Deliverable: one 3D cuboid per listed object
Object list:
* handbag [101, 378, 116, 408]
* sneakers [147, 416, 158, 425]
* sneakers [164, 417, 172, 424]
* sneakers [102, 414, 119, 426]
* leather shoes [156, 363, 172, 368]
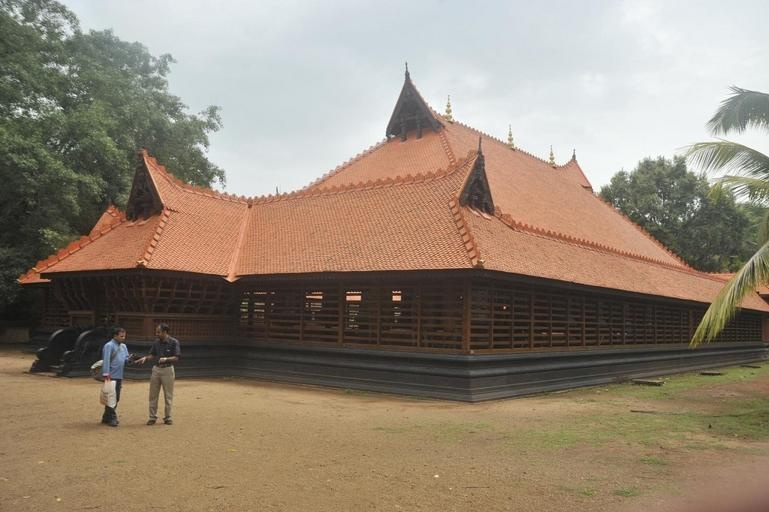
[{"bbox_3d":[-6.696,3.349,15.052,0.201,0.648,0.365,-2,-12,25],"label":"handbag"},{"bbox_3d":[-5.720,4.044,15.166,0.240,0.194,0.264,7,-11,-20],"label":"sneakers"},{"bbox_3d":[-5.348,4.055,15.243,0.218,0.175,0.359,6,-11,-19],"label":"sneakers"},{"bbox_3d":[-6.670,4.007,15.003,0.521,0.201,0.192,-6,-8,33],"label":"sneakers"},{"bbox_3d":[-5.545,2.741,15.464,0.370,0.086,0.126,7,-11,-23],"label":"leather shoes"}]
